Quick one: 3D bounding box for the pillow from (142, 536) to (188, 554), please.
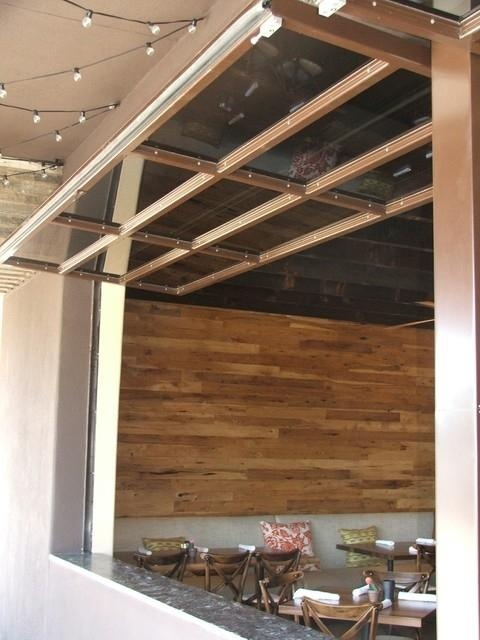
[{"bbox_3d":[-0.721,2.135,5.881,0.190,0.072,0.236,0,1,26],"label":"pillow"}]

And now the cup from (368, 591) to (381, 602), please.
[{"bbox_3d":[0.928,1.925,4.283,0.079,0.051,0.076,2,-7,0],"label":"cup"}]
